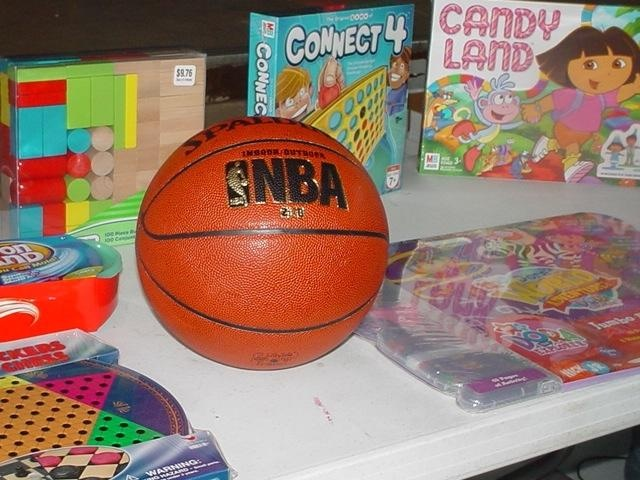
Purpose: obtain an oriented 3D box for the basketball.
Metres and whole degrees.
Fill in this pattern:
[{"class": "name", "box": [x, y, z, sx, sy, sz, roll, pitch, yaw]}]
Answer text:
[{"class": "basketball", "box": [-0.058, 0.018, 0.783, 0.407, 0.275, 0.323, 2, -9, -1]}]
